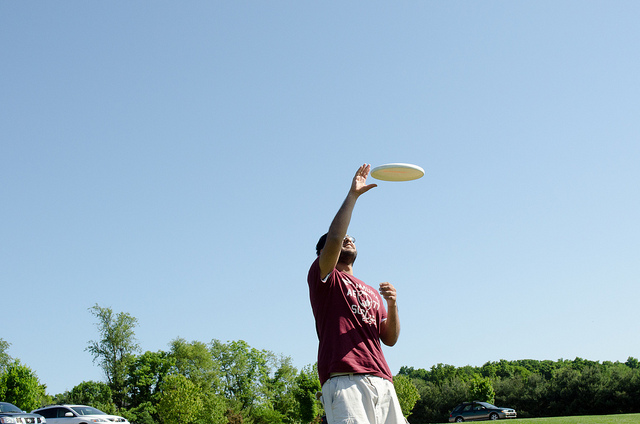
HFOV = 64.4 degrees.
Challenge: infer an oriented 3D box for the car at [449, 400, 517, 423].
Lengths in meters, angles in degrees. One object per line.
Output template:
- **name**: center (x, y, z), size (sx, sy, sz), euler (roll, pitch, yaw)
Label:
- **car**: center (14.746, 18.534, 47.086), size (5.442, 1.774, 1.935), euler (-8, -25, 11)
